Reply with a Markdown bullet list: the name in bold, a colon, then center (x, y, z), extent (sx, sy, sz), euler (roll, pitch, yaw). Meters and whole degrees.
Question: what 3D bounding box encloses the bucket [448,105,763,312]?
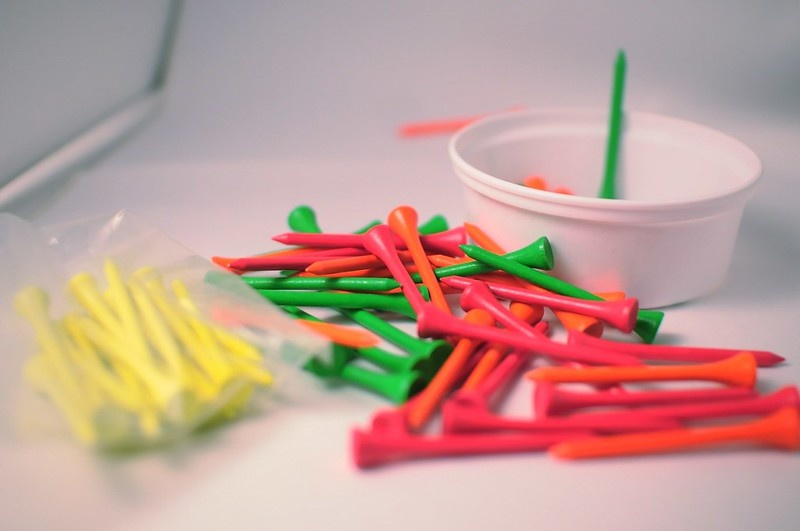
- **bucket**: center (0.524, -0.213, 2.036), extent (0.721, 0.277, 0.723), euler (1, 23, 0)
